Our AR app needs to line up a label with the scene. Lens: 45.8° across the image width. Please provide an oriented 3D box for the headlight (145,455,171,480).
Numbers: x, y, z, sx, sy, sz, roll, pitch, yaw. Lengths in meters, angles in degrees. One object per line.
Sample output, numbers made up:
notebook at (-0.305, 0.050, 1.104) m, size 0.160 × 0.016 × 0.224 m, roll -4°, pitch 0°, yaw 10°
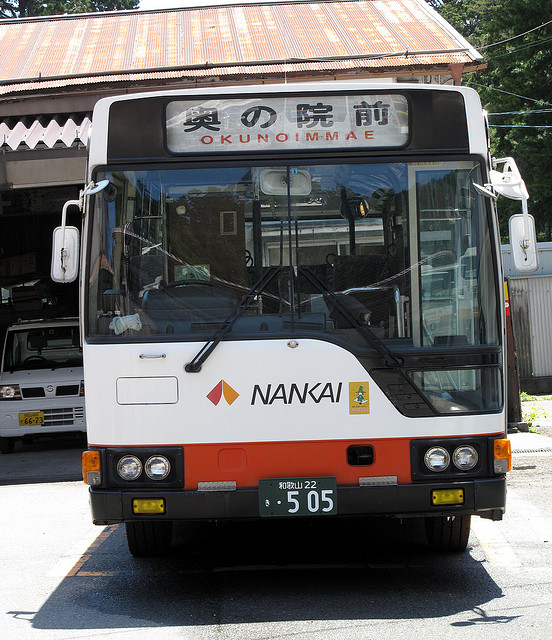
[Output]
headlight at (-0.639, 0.802, 3.554) m, size 0.135 × 0.133 × 0.028 m, roll -4°, pitch -6°, yaw 11°

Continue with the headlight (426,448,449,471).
headlight at (0.881, 0.753, 3.541) m, size 0.119 × 0.117 × 0.058 m, roll -1°, pitch 4°, yaw 5°

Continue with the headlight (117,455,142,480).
headlight at (-0.792, 0.807, 3.630) m, size 0.133 × 0.130 × 0.131 m, roll 16°, pitch 2°, yaw 0°

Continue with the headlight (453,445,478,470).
headlight at (1.031, 0.748, 3.554) m, size 0.131 × 0.127 × 0.078 m, roll 1°, pitch 5°, yaw -6°

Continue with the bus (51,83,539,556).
bus at (0.054, -0.079, 5.845) m, size 2.707 × 2.701 × 4.653 m, roll -1°, pitch 4°, yaw 0°

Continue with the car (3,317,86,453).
car at (-4.017, 1.066, 11.294) m, size 1.364 × 2.378 × 1.635 m, roll -1°, pitch -6°, yaw -17°
